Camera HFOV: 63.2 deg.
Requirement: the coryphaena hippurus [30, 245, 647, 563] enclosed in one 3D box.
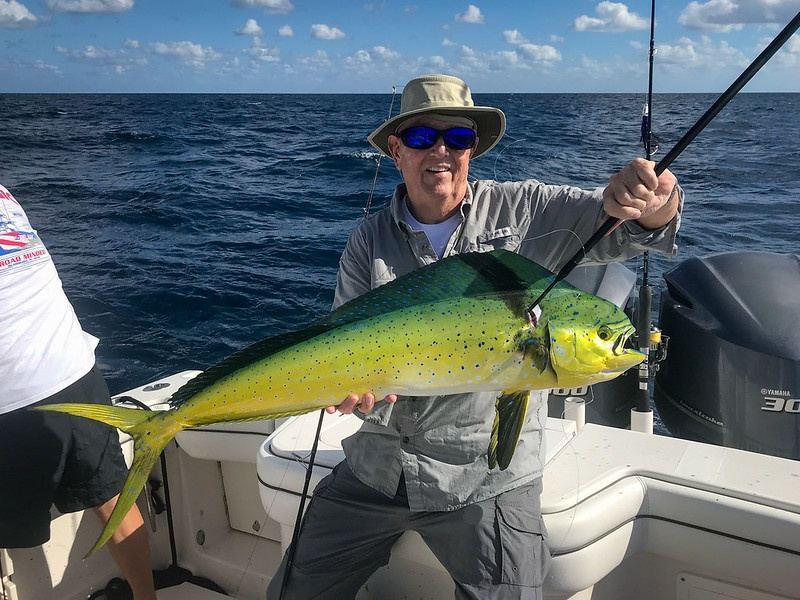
[{"bbox_3d":[-0.070,0.271,2.152,1.651,0.846,0.329,2,21,3],"label":"coryphaena hippurus"}]
